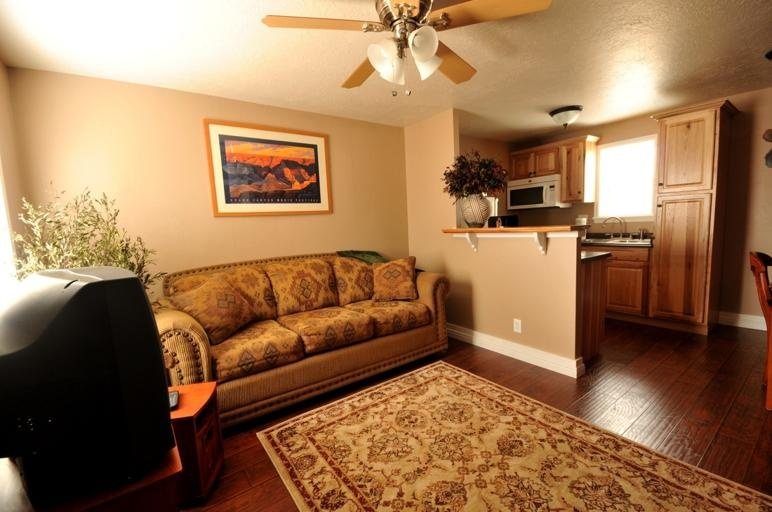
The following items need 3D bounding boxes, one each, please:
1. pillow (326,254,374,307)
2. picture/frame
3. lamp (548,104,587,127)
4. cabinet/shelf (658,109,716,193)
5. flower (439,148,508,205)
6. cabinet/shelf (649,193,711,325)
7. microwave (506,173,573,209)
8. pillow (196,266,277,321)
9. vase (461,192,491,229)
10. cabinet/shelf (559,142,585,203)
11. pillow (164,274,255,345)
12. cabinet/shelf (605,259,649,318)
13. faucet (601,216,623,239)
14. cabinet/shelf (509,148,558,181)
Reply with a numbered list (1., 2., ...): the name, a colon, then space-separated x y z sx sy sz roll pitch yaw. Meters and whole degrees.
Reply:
1. pillow: -0.385 0.258 5.044 0.515 0.453 0.147 -9 -15 -35
2. picture/frame: -1.261 -0.921 4.872 1.177 0.786 0.042 -6 6 -34
3. lamp: 1.997 -1.576 5.303 0.256 0.147 0.239 3 -10 -12
4. cabinet/shelf: 3.248 -1.184 5.154 0.546 0.889 0.340 0 22 27
5. flower: 0.928 -0.839 4.847 0.559 0.485 0.508 -6 -10 19
6. cabinet/shelf: 3.207 0.019 5.152 0.523 1.368 0.226 3 12 35
7. microwave: 2.104 -0.856 6.528 0.411 0.394 0.827 1 0 -36
8. pillow: -1.364 0.393 4.585 0.152 0.498 0.523 -35 -15 35
9. vase: 0.934 -0.488 4.949 0.331 0.375 0.347 3 22 38
10. cabinet/shelf: 2.401 -1.110 6.138 0.310 0.802 0.089 -11 16 -16
11. pillow: -1.465 0.460 4.065 0.662 0.490 0.407 -7 10 -25
12. cabinet/shelf: 2.934 0.319 5.781 0.439 0.631 0.458 5 19 34
13. faucet: 2.879 -0.364 5.988 0.271 0.258 0.273 2 10 30
14. cabinet/shelf: 2.041 -1.262 6.464 0.212 0.324 0.569 -5 6 -37
